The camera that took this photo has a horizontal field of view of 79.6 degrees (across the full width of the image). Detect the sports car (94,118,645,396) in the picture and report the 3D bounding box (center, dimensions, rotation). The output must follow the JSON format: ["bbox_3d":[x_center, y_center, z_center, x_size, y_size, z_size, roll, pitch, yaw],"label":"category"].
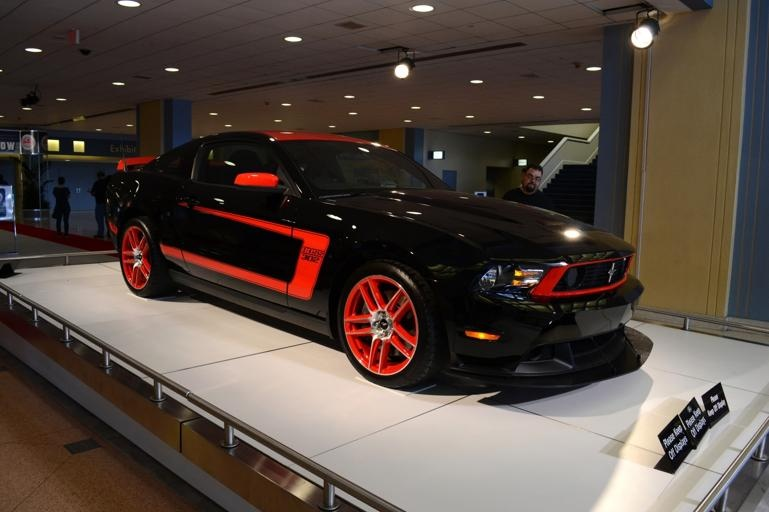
[{"bbox_3d":[-0.459,-0.009,3.917,4.346,1.224,1.940,8,8,33],"label":"sports car"}]

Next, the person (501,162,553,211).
[{"bbox_3d":[1.983,-0.906,6.182,0.755,0.600,0.357,16,16,26],"label":"person"}]

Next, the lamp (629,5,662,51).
[{"bbox_3d":[3.413,-2.952,6.000,0.280,0.567,0.689,6,12,29],"label":"lamp"}]
